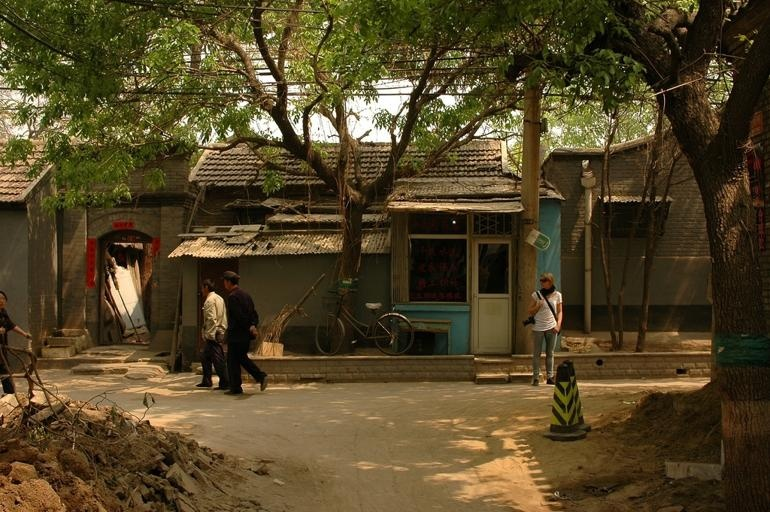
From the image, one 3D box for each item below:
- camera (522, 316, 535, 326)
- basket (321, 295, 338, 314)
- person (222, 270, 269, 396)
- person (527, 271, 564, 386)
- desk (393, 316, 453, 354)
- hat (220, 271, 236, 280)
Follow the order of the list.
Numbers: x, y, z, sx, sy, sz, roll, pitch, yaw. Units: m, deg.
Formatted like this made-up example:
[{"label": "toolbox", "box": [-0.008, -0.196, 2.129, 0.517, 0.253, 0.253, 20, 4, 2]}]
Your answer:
[{"label": "camera", "box": [3.229, 1.588, 20.122, 0.509, 0.128, 0.228, -6, -7, 9]}, {"label": "basket", "box": [-1.532, 1.420, 23.865, 0.514, 0.541, 0.461, 0, -4, 2]}, {"label": "person", "box": [-3.232, 1.831, 19.718, 0.955, 2.806, 0.757, 2, -3, -33]}, {"label": "person", "box": [3.686, 1.786, 20.074, 0.739, 2.653, 0.915, 0, -3, 14]}, {"label": "desk", "box": [1.278, 2.217, 23.034, 1.108, 0.904, 0.843, 1, 2, 4]}, {"label": "hat", "box": [-3.573, 0.503, 19.638, 0.233, 0.117, 0.319, 4, -1, -39]}]
